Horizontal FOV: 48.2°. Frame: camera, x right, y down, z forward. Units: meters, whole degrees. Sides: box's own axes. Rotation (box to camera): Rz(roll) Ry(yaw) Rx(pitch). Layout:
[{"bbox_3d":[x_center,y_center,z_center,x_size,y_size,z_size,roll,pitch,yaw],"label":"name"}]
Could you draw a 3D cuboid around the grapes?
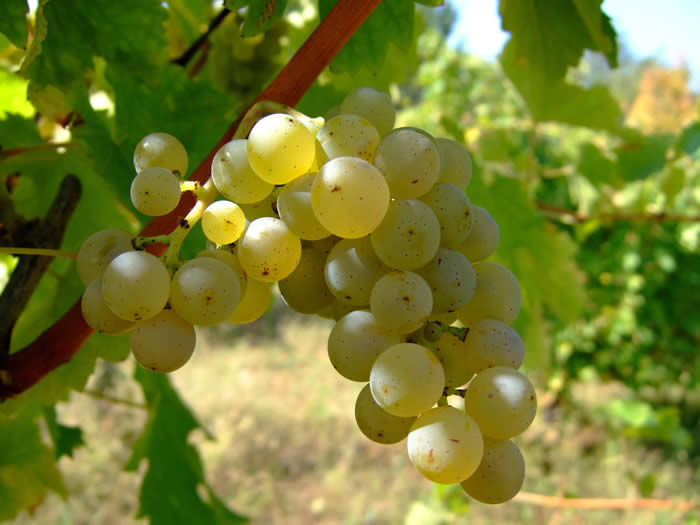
[{"bbox_3d":[-0.008,0.027,1.070,0.636,0.285,0.468,30,81,2],"label":"grapes"}]
